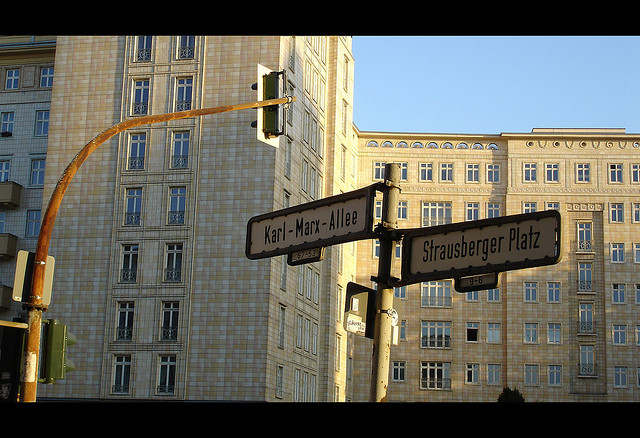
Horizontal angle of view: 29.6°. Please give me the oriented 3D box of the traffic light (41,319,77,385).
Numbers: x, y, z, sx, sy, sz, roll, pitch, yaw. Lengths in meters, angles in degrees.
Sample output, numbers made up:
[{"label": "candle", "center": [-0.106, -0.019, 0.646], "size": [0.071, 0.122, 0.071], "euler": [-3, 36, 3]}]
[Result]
[{"label": "traffic light", "center": [-8.321, 4.173, 38.097], "size": [0.944, 2.179, 0.946], "euler": [-8, -18, 19]}]

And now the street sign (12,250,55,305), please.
[{"label": "street sign", "center": [-9.279, 1.869, 38.896], "size": [1.218, 1.734, 0.522], "euler": [1, -6, -14]}]

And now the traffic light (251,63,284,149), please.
[{"label": "traffic light", "center": [-1.728, -3.847, 41.555], "size": [1.083, 2.788, 0.827], "euler": [-1, -11, 36]}]

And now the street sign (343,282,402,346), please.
[{"label": "street sign", "center": [1.609, 2.815, 36.262], "size": [2.262, 1.607, 0.081], "euler": [12, 14, 42]}]
